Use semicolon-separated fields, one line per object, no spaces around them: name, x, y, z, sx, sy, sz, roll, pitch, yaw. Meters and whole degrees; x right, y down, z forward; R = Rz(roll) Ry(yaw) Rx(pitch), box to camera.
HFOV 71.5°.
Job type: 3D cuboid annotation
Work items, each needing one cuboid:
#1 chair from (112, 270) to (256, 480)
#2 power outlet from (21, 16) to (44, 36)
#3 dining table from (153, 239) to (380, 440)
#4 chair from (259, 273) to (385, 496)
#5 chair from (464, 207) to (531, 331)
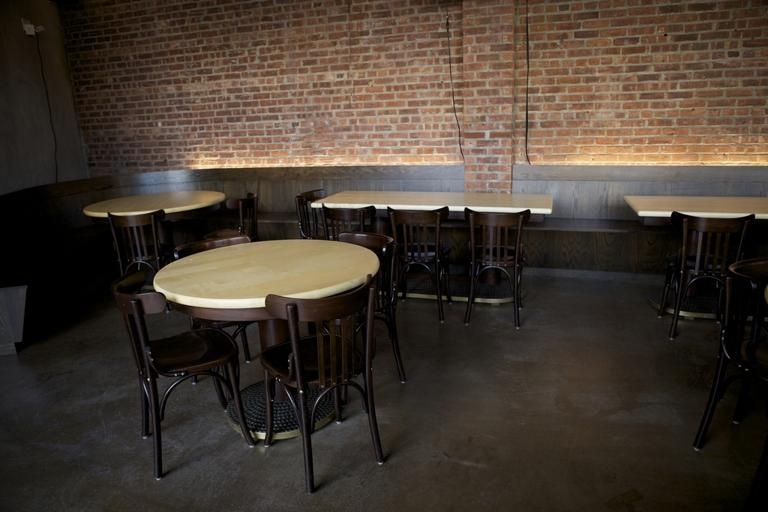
chair;-1.342;0.740;3.608;0.691;1.281;0.652;-9;16;-26
power outlet;-4.693;-3.061;7.084;0.049;0.164;0.187;0;2;36
dining table;-0.720;0.565;4.129;1.519;1.050;1.498;3;15;13
chair;-0.442;0.749;3.588;0.808;1.275;0.911;-4;14;-7
chair;1.136;0.011;5.362;0.594;1.073;1.226;1;14;12
